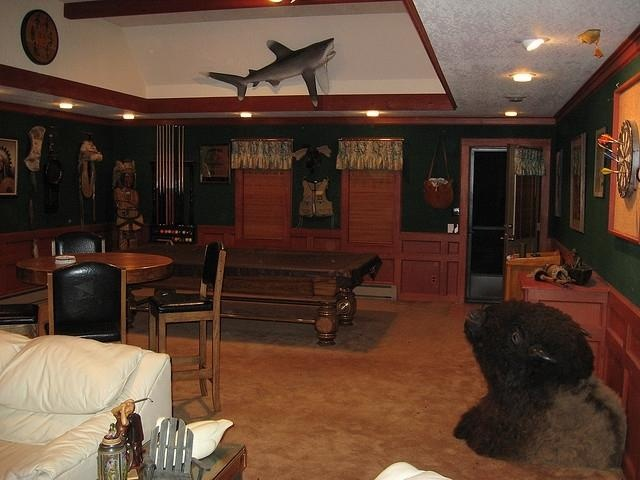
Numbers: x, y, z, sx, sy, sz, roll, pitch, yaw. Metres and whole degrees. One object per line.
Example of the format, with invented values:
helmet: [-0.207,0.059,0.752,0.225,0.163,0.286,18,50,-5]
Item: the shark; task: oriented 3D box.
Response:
shark: [-0.639,-2.494,7.078,1.928,0.774,0.883,-16,-43,17]
